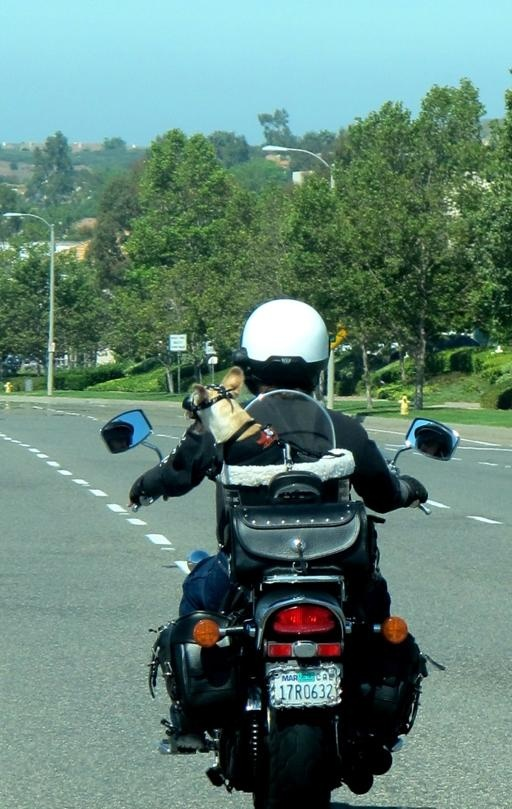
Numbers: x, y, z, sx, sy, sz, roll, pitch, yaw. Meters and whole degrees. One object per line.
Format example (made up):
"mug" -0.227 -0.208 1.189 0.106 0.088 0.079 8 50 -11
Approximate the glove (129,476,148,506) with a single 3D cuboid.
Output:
"glove" -0.379 0.268 2.853 0.038 0.076 0.103 15 38 11

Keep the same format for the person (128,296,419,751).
"person" 0.048 0.144 3.097 0.941 1.335 1.348 1 3 -2

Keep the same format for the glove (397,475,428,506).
"glove" 0.513 0.287 2.940 0.092 0.049 0.119 29 -3 -10

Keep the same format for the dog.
"dog" -0.066 0.048 2.462 0.344 0.242 0.160 13 20 31

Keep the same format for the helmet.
"helmet" 0.089 -0.234 2.862 0.208 0.231 0.257 3 10 1
